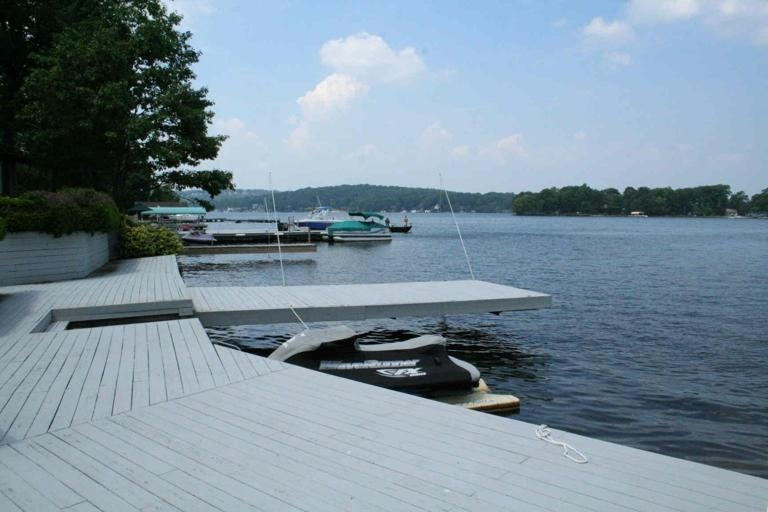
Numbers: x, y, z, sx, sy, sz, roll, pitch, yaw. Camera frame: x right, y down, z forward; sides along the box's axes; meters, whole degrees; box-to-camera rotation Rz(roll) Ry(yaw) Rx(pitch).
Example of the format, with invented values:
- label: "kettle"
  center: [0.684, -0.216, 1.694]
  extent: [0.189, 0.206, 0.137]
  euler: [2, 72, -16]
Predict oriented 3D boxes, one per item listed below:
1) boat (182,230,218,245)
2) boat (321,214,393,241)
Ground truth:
- label: "boat"
  center: [-12.238, -1.155, 35.445]
  extent: [1.936, 0.618, 1.101]
  euler: [-3, 13, -16]
- label: "boat"
  center: [-2.532, -2.595, 51.681]
  extent: [5.477, 1.915, 3.203]
  euler: [-1, 5, -14]
